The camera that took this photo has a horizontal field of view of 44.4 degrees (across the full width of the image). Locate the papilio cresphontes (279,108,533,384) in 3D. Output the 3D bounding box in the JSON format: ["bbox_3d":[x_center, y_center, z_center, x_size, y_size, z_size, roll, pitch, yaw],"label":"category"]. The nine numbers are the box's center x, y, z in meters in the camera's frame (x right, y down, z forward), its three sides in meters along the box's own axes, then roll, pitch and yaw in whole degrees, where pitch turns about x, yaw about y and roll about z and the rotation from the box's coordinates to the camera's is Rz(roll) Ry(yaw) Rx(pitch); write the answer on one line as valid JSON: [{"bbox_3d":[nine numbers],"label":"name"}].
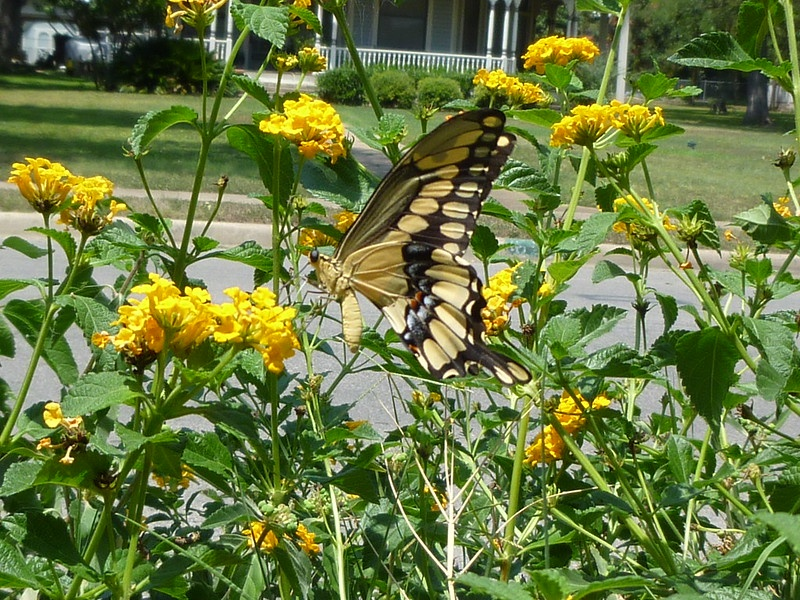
[{"bbox_3d":[-0.006,-0.145,2.829,0.647,0.776,0.781,0,8,-4],"label":"papilio cresphontes"}]
